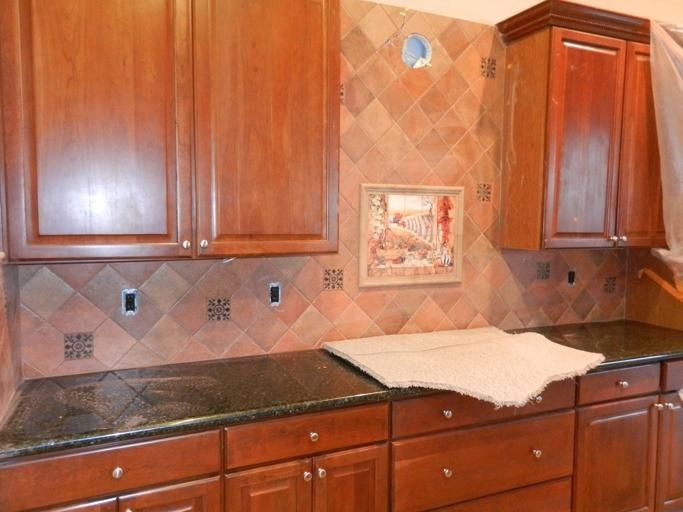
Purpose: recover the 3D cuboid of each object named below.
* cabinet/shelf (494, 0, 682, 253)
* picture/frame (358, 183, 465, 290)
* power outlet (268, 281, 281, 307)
[{"bbox_3d":[1.357,-0.681,3.043,1.351,1.343,0.529,1,-4,-23],"label":"cabinet/shelf"},{"bbox_3d":[0.363,-0.116,3.096,0.584,0.514,0.052,0,3,-19],"label":"picture/frame"},{"bbox_3d":[-0.339,0.191,2.870,0.064,0.115,0.030,0,1,-14],"label":"power outlet"}]
